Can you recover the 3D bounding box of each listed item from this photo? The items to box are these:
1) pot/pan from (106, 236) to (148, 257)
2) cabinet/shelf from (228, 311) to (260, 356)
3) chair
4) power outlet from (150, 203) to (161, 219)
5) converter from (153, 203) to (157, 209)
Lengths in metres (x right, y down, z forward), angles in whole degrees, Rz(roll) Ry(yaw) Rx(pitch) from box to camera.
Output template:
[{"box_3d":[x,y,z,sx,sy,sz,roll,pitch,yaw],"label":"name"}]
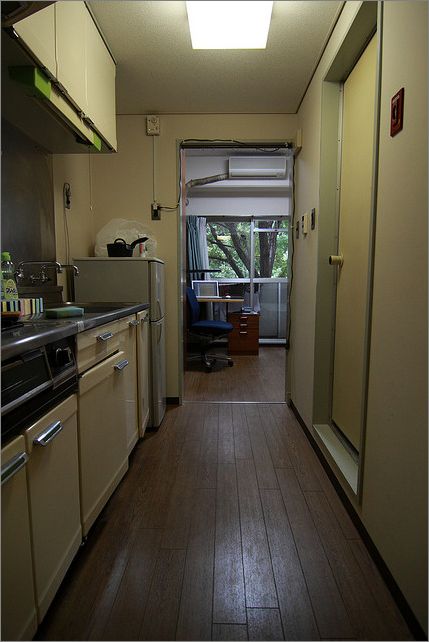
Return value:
[{"box_3d":[-0.557,-0.456,2.515,0.252,0.148,0.316,-3,5,-29],"label":"pot/pan"},{"box_3d":[0.331,0.176,5.178,0.334,0.729,0.451,0,0,0],"label":"cabinet/shelf"},{"box_3d":[-0.097,0.047,4.331,0.435,0.932,0.451,0,6,28],"label":"chair"},{"box_3d":[-0.425,-0.797,2.889,0.068,0.191,0.016,1,8,0],"label":"power outlet"},{"box_3d":[-0.429,-0.824,2.877,0.023,0.068,0.029,2,0,2],"label":"converter"}]
